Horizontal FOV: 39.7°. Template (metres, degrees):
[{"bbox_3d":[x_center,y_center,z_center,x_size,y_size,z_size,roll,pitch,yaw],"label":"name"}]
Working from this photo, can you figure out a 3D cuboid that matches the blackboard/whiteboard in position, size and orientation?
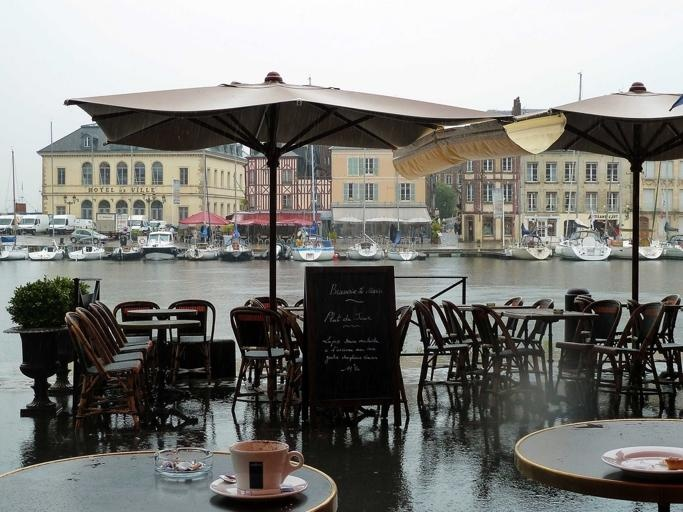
[{"bbox_3d":[0.075,0.694,8.401,0.830,1.233,0.321,-1,-2,2],"label":"blackboard/whiteboard"}]

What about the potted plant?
[{"bbox_3d":[-2.946,0.857,9.240,0.628,1.321,0.758,0,-3,-24],"label":"potted plant"}]

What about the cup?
[{"bbox_3d":[-0.370,1.019,4.620,0.352,0.231,0.187,-1,-2,-4],"label":"cup"}]

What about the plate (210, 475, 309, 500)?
[{"bbox_3d":[-0.406,1.132,4.568,0.350,0.192,0.214,0,-1,-25],"label":"plate"}]

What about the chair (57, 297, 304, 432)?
[{"bbox_3d":[-2.065,1.054,9.166,1.133,1.960,1.174,0,-1,24],"label":"chair"}]

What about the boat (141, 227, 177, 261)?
[{"bbox_3d":[-12.688,-0.755,65.168,2.090,2.055,4.921,-1,-1,-6],"label":"boat"}]

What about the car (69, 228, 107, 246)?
[{"bbox_3d":[-18.991,-1.470,71.056,2.427,1.090,1.410,-2,2,5],"label":"car"}]
